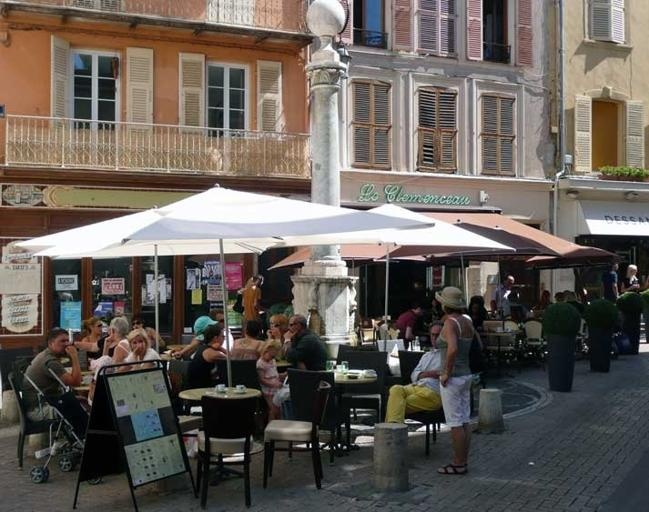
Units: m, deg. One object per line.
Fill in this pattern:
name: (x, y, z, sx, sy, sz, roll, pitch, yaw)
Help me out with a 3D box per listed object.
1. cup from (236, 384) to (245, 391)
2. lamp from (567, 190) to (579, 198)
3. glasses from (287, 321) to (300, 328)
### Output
cup: (-1.303, 2.036, 16.935, 0.090, 0.067, 0.094, 0, -4, 0)
lamp: (7.314, -1.825, 32.376, 0.358, 0.276, 0.266, 0, 10, 2)
glasses: (-0.545, 1.158, 18.654, 0.127, 0.111, 0.097, 18, -5, 6)
